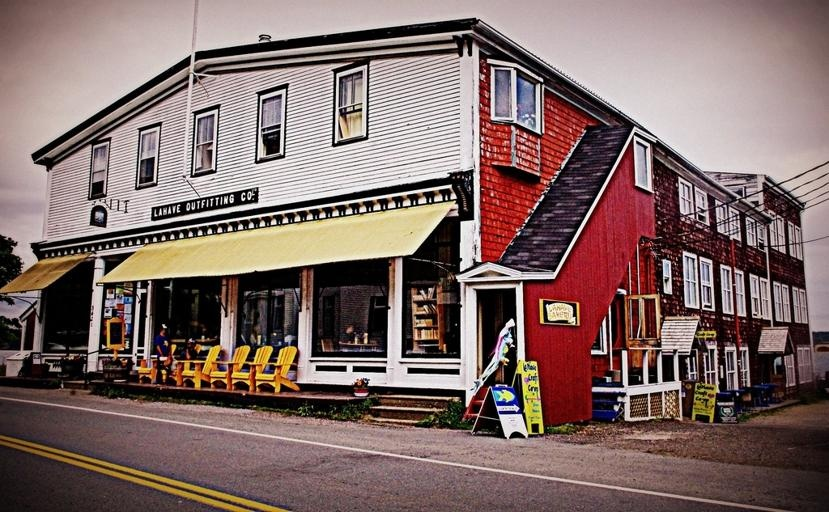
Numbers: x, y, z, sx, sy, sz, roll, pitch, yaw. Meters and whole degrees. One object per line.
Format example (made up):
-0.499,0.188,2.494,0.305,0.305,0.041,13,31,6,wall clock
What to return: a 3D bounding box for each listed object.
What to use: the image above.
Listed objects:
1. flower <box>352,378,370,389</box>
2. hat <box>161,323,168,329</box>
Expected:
-1.668,3.983,22.339,0.342,0.191,0.342,0,-3,12,flower
-9.728,2.734,27.795,0.146,0.146,0.144,-8,-32,7,hat
